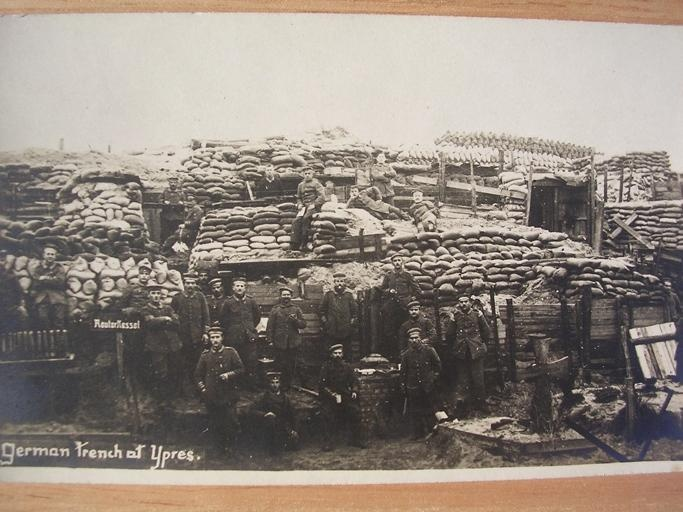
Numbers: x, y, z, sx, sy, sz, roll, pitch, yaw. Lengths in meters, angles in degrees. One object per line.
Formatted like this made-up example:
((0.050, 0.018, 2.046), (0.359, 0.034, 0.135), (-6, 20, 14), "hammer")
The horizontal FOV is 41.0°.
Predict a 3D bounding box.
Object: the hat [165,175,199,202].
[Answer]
((-1.843, -0.760, 10.621), (0.316, 0.304, 0.085), (-3, -6, -6), "hat")

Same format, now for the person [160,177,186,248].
((-1.907, -0.441, 10.544), (0.253, 0.794, 0.186), (0, 24, -8), "person")

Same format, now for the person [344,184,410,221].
((0.434, -0.564, 10.577), (0.727, 0.271, 0.374), (15, -4, -13), "person")
